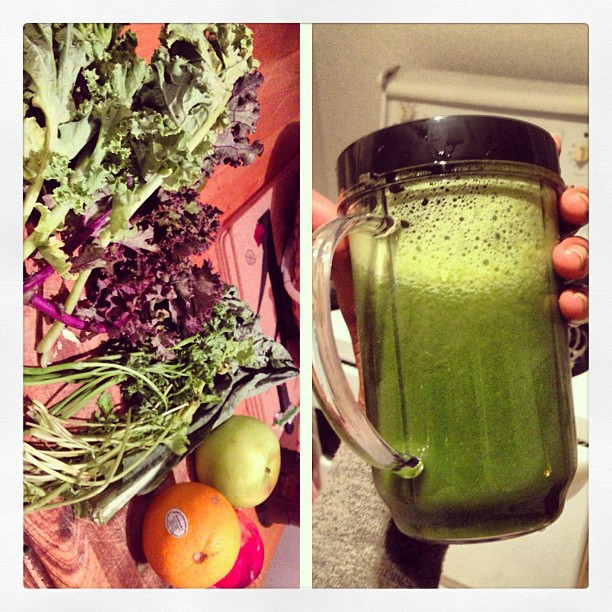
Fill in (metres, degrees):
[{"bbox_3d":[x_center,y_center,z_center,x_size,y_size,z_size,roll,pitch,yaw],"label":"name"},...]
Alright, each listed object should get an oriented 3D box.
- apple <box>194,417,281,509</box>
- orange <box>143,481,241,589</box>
[{"bbox_3d":[-0.090,0.205,0.751,0.111,0.121,0.113,-15,-28,33],"label":"apple"},{"bbox_3d":[-0.150,0.309,0.748,0.120,0.126,0.129,-2,-34,-1],"label":"orange"}]
